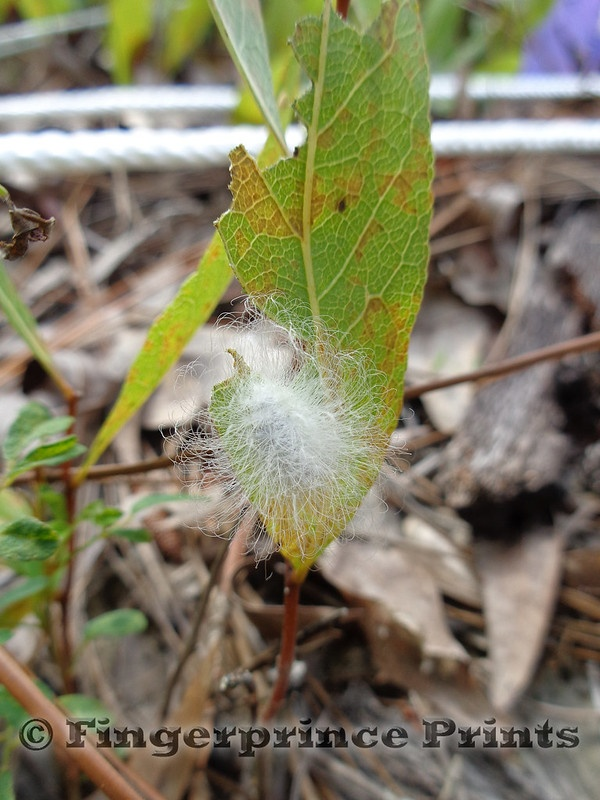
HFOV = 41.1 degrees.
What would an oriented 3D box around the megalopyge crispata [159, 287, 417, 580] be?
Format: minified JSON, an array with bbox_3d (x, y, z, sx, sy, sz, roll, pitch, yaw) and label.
[{"bbox_3d":[-0.001,0.049,0.723,0.217,0.098,0.217,12,32,9],"label":"megalopyge crispata"}]
